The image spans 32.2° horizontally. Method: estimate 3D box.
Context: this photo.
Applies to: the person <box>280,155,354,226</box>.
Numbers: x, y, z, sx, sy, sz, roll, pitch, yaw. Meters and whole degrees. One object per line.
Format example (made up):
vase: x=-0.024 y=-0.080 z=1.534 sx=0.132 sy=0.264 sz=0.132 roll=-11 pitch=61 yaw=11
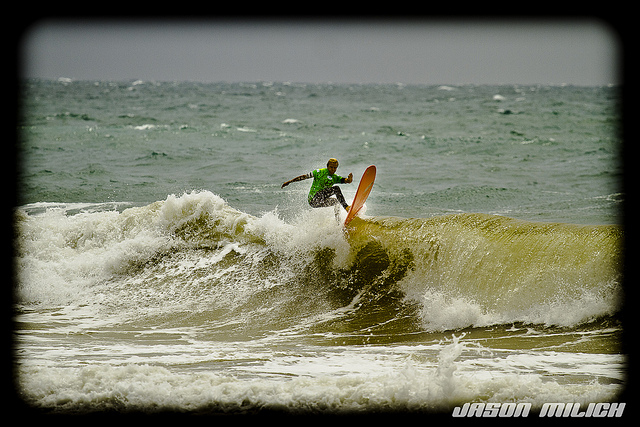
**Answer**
person: x=0.178 y=-0.476 z=25.624 sx=1.125 sy=1.591 sz=0.607 roll=3 pitch=12 yaw=10
